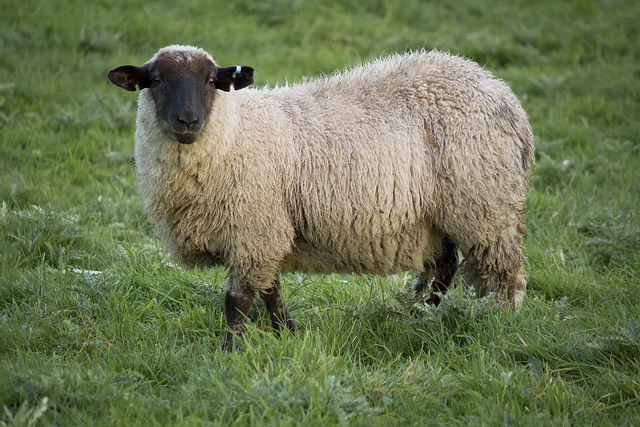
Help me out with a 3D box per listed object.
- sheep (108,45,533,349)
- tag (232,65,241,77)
[{"bbox_3d":[0.038,-0.044,7.690,2.964,2.073,1.153,-2,14,-3],"label":"sheep"},{"bbox_3d":[-0.810,-1.384,7.517,0.091,0.061,0.071,-5,16,-15],"label":"tag"}]
